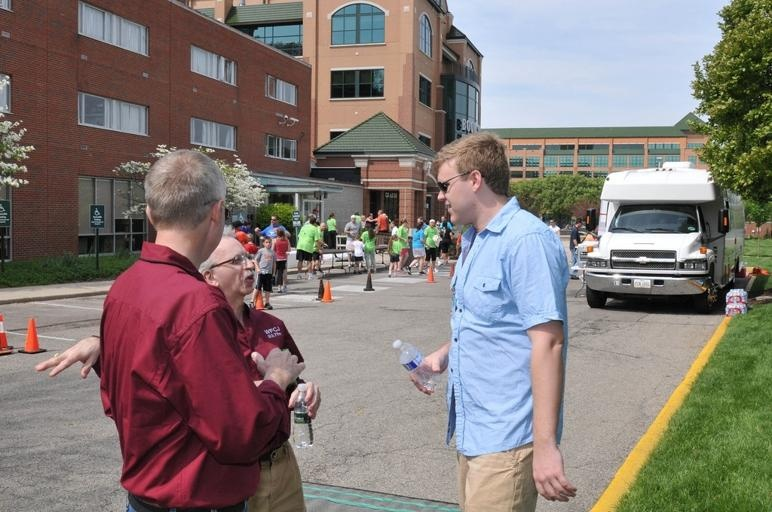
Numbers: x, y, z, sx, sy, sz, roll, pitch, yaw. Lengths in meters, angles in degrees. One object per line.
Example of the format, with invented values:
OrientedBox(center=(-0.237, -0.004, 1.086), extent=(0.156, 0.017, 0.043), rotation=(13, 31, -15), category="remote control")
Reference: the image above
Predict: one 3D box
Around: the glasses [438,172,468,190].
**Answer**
OrientedBox(center=(0.414, -0.467, 3.854), extent=(0.118, 0.042, 0.125), rotation=(-20, 3, -4), category="glasses")

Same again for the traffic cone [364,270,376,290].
OrientedBox(center=(-0.504, 0.829, 20.404), extent=(0.460, 0.711, 0.476), rotation=(3, 5, 42), category="traffic cone")

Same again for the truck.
OrientedBox(center=(7.841, -0.613, 17.265), extent=(2.574, 3.041, 5.930), rotation=(-1, -2, 27), category="truck")

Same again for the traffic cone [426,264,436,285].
OrientedBox(center=(1.841, 0.718, 23.897), extent=(0.467, 0.605, 0.509), rotation=(-1, 0, -7), category="traffic cone")
